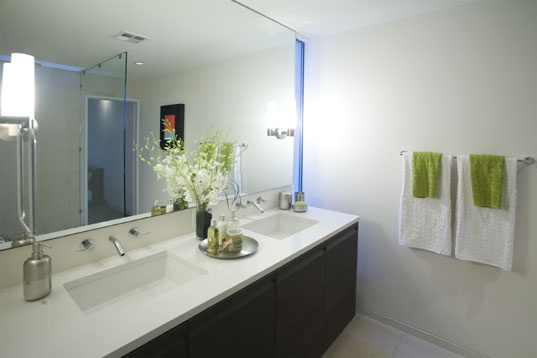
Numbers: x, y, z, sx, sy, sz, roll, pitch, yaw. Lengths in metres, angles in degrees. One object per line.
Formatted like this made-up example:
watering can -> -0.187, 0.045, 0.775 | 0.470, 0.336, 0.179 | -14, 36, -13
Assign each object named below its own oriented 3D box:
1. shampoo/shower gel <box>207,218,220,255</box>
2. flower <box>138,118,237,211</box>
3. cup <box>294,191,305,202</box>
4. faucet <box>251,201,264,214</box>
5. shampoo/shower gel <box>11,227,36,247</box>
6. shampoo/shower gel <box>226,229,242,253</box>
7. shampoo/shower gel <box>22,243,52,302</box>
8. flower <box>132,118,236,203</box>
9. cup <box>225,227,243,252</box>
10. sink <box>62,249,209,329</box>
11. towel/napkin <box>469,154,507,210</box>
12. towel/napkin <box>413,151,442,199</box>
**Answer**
shampoo/shower gel -> -0.389, 0.398, 2.526 | 0.090, 0.236, 0.102 | -4, 10, -7
flower -> -0.647, -0.127, 2.845 | 0.616, 0.699, 0.586 | -1, 6, -33
cup -> 0.301, 0.174, 3.625 | 0.086, 0.120, 0.081 | 2, 5, 0
faucet -> -0.105, 0.241, 3.185 | 0.048, 0.055, 0.198 | 9, 13, -36
shampoo/shower gel -> -1.435, 0.329, 2.156 | 0.106, 0.119, 0.106 | 5, 3, 37
shampoo/shower gel -> -0.240, 0.427, 2.554 | 0.134, 0.149, 0.135 | 0, 10, -8
shampoo/shower gel -> -1.367, 0.529, 2.124 | 0.173, 0.339, 0.099 | -5, 10, -15
flower -> -0.648, -0.160, 2.841 | 0.559, 0.668, 0.603 | 9, 10, 40
cup -> -0.244, 0.434, 2.621 | 0.135, 0.151, 0.136 | 2, 10, 0
sink -> -0.915, 0.635, 2.375 | 0.430, 0.150, 0.504 | 10, 13, 44
towel/napkin -> 1.714, 0.025, 2.876 | 0.248, 0.419, 0.097 | 4, 11, 33
towel/napkin -> 1.324, -0.031, 3.067 | 0.229, 0.385, 0.092 | 2, 11, 24
